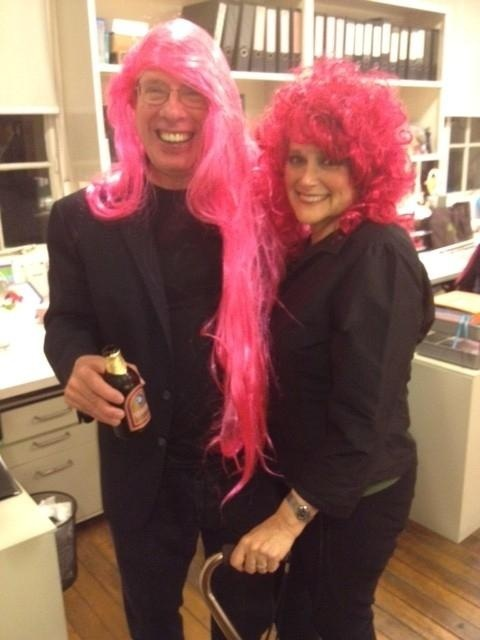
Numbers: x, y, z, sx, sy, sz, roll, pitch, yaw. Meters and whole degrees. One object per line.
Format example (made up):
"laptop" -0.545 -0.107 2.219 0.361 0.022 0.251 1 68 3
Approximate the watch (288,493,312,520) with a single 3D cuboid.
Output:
"watch" 0.097 0.305 0.869 0.013 0.029 0.045 -24 46 -31

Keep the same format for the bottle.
"bottle" -0.210 0.130 1.003 0.067 0.198 0.134 -3 18 1

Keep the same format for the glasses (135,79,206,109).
"glasses" -0.136 -0.424 1.005 0.073 0.021 0.073 6 -6 2
